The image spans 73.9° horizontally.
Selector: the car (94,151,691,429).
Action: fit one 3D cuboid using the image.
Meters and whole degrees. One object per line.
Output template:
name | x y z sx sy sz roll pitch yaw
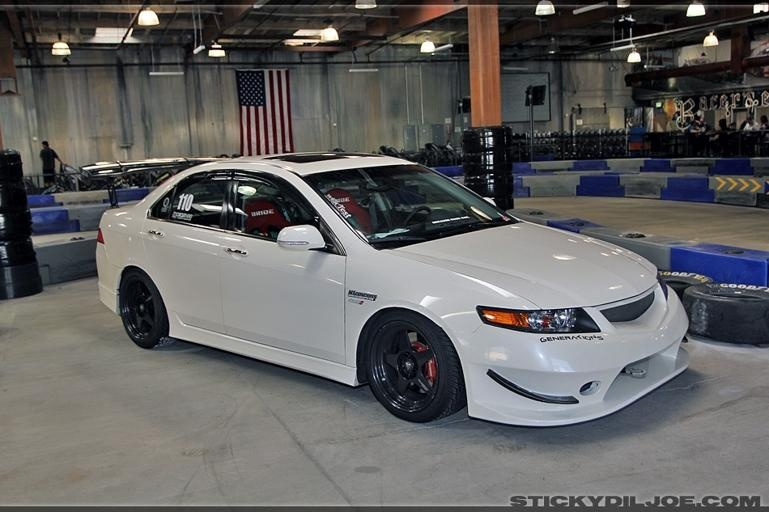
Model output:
car | -0.292 0.163 4.587 4.696 1.334 2.246 7 13 34
